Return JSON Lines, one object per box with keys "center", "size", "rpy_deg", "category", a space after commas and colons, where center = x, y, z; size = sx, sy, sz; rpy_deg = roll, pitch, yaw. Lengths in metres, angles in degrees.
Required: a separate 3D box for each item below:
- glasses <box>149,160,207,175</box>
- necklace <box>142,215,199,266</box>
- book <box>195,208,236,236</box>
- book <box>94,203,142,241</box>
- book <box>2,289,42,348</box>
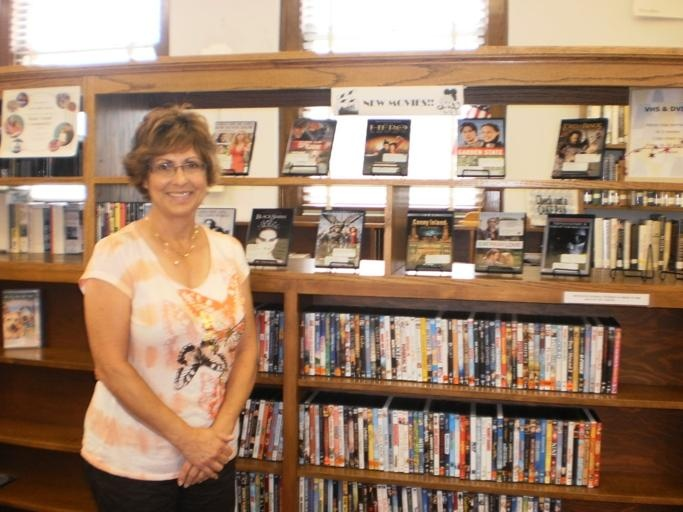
{"center": [-0.676, -0.365, 2.641], "size": [0.128, 0.026, 0.096], "rpy_deg": [0, -27, -9], "category": "glasses"}
{"center": [-0.703, -0.070, 2.641], "size": [0.274, 0.201, 0.087], "rpy_deg": [-18, -10, -31], "category": "necklace"}
{"center": [-0.638, -0.173, 3.233], "size": [0.243, 0.116, 0.027], "rpy_deg": [9, -6, 19], "category": "book"}
{"center": [-1.164, -0.167, 3.473], "size": [0.269, 0.223, 0.286], "rpy_deg": [0, 1, 0], "category": "book"}
{"center": [-1.796, 0.351, 3.617], "size": [0.200, 0.332, 0.107], "rpy_deg": [1, 4, -6], "category": "book"}
